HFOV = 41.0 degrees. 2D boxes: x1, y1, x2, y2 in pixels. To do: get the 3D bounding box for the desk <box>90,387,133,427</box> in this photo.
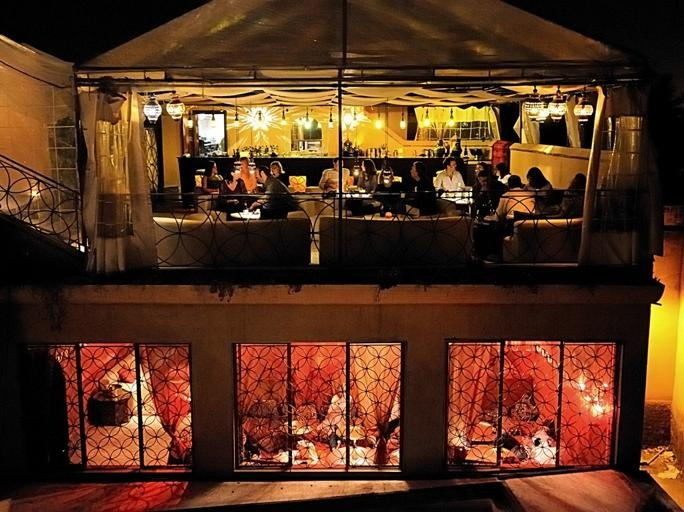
[{"bbox_3d":[-3.718,2.472,14.862,0.817,0.695,0.827,5,-15,-18],"label":"desk"}]
